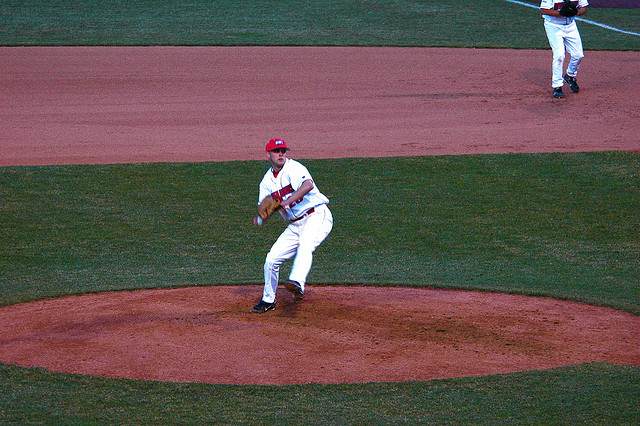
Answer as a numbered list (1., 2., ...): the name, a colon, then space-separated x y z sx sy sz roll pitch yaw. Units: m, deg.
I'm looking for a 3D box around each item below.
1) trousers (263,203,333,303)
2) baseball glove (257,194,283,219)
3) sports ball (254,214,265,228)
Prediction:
1. trousers: -0.540 0.854 31.292 1.185 2.053 1.327 8 22 18
2. baseball glove: -1.039 -0.151 31.126 0.503 0.437 0.430 0 19 -1
3. sports ball: -1.295 0.171 31.252 0.318 0.269 0.126 1 19 6
